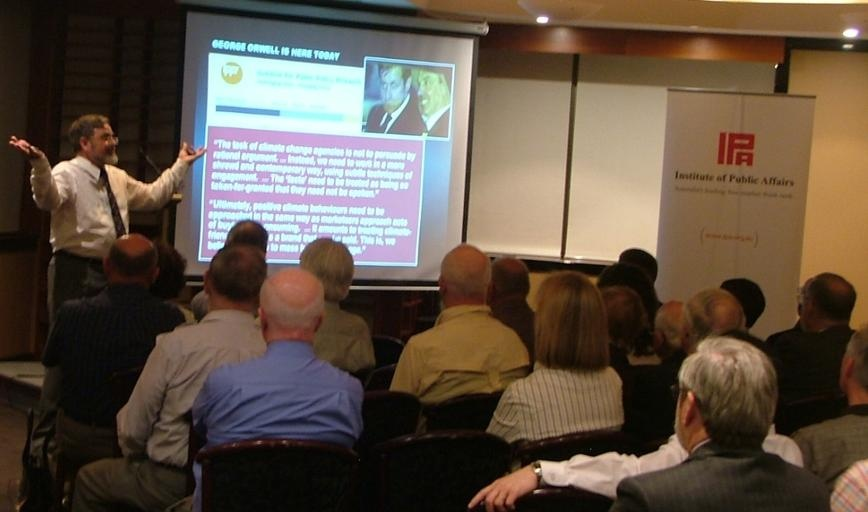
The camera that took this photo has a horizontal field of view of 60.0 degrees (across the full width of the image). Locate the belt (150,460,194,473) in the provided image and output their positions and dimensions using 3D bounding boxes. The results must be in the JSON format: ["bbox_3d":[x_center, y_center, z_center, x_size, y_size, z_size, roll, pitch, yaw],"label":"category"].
[{"bbox_3d":[-1.463,1.168,4.188,0.108,0.029,0.112,3,-4,3],"label":"belt"}]

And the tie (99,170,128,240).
[{"bbox_3d":[-2.573,-0.396,5.959,0.088,0.573,0.065,-16,-6,-9],"label":"tie"}]
